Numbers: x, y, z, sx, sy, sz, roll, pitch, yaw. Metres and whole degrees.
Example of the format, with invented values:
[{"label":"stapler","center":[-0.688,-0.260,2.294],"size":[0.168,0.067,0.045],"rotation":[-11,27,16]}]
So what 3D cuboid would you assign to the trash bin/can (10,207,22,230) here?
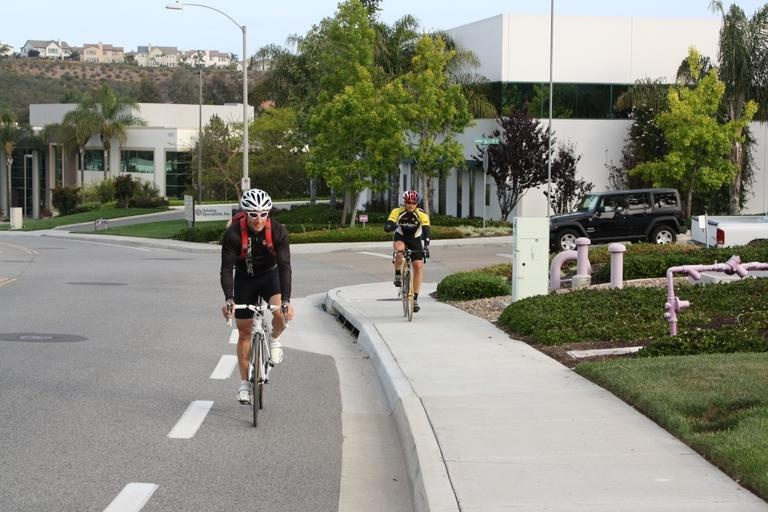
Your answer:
[{"label":"trash bin/can","center":[-26.654,-2.752,64.878],"size":[0.645,1.422,3.901],"rotation":[-1,5,-24]}]

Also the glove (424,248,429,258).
[{"label":"glove","center":[0.840,-0.030,17.328],"size":[0.122,0.232,0.053],"rotation":[-3,9,-13]}]

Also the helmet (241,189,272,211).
[{"label":"helmet","center":[-1.564,-0.680,10.961],"size":[0.348,0.263,0.593],"rotation":[0,5,-11]}]

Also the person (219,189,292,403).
[{"label":"person","center":[-1.576,0.556,11.171],"size":[0.884,2.763,0.874],"rotation":[2,4,7]}]

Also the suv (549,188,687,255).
[{"label":"suv","center":[7.841,-1.241,31.037],"size":[4.661,2.305,2.486],"rotation":[1,1,-11]}]

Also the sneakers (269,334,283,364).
[{"label":"sneakers","center":[-1.410,1.125,11.481],"size":[0.149,0.486,0.216],"rotation":[-7,-26,4]}]
